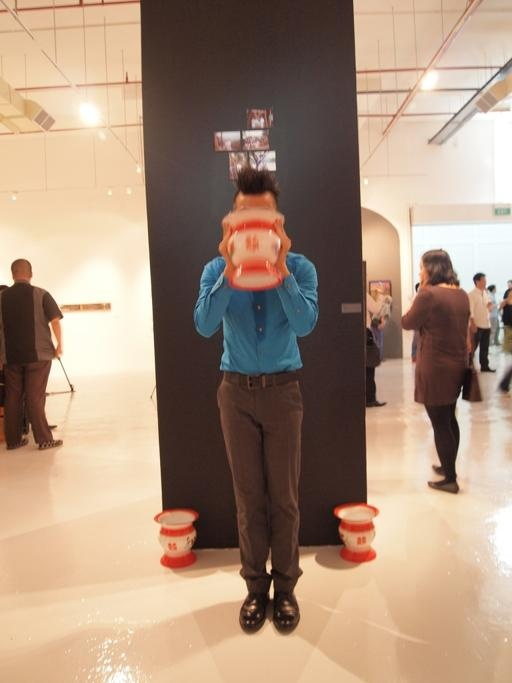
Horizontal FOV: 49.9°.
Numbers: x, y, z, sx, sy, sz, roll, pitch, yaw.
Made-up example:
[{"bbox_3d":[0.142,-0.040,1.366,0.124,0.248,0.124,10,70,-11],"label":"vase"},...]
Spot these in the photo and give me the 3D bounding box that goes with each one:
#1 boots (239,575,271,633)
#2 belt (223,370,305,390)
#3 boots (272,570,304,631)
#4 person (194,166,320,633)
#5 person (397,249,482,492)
[{"bbox_3d":[-0.007,0.874,1.851,0.067,0.156,0.215,-2,-6,10],"label":"boots"},{"bbox_3d":[0.014,0.126,1.843,0.241,0.052,0.105,-2,3,-3],"label":"belt"},{"bbox_3d":[0.096,0.860,1.837,0.074,0.161,0.213,-3,-10,3],"label":"boots"},{"bbox_3d":[0.015,0.207,1.790,0.408,1.470,0.593,-2,3,-7],"label":"person"},{"bbox_3d":[1.072,0.075,3.215,0.343,1.095,0.291,-14,21,-35],"label":"person"}]
